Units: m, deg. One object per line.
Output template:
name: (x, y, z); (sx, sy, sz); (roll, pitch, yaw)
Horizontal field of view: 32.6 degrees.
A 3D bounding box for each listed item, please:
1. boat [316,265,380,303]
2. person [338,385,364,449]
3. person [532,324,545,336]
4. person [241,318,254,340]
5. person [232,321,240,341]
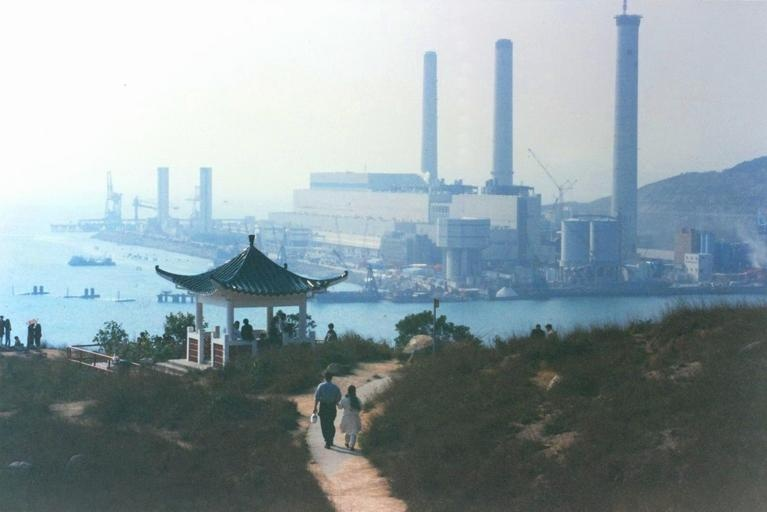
boat: (-7.319, 6.450, 230.812); (15.166, 8.956, 4.575); (0, 2, -4)
person: (-1.835, 9.398, 75.699); (1.278, 3.686, 1.164); (0, -5, 0)
person: (9.598, 4.637, 81.284); (0.834, 0.748, 1.697); (-1, -5, 7)
person: (-8.519, 4.700, 82.858); (0.866, 1.376, 1.622); (1, -5, -7)
person: (-9.162, 4.718, 82.342); (0.446, 1.154, 0.722); (0, -5, -1)
